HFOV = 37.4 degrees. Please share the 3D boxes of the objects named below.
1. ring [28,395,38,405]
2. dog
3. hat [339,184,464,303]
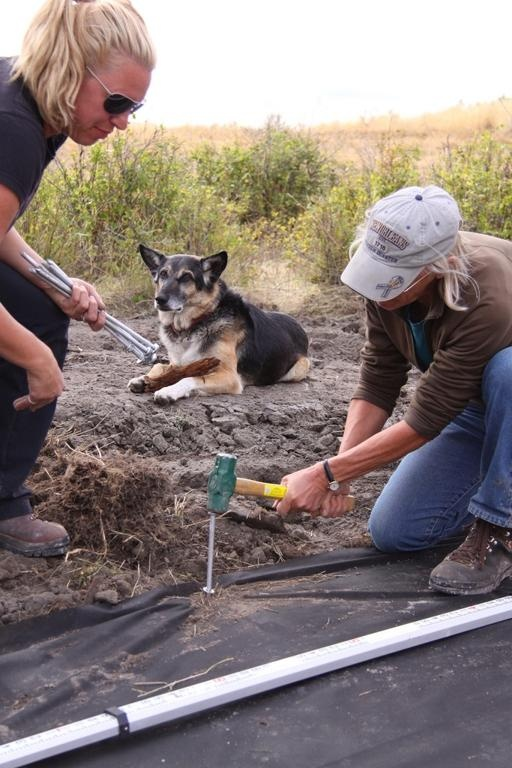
[{"bbox_3d":[-0.836,0.059,2.806,0.027,0.008,0.027,35,-8,5],"label":"ring"},{"bbox_3d":[-0.276,-0.411,5.894,1.450,1.289,1.165,-1,16,-9],"label":"dog"},{"bbox_3d":[0.551,-0.535,2.869,0.444,0.440,0.211,1,8,4],"label":"hat"}]
